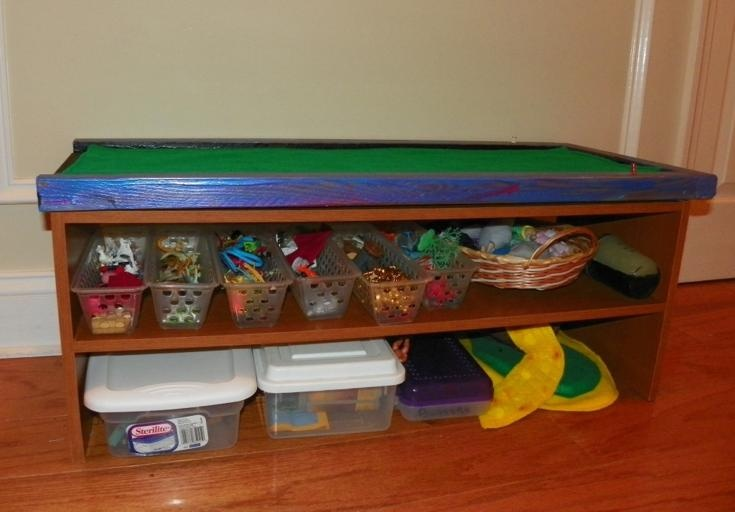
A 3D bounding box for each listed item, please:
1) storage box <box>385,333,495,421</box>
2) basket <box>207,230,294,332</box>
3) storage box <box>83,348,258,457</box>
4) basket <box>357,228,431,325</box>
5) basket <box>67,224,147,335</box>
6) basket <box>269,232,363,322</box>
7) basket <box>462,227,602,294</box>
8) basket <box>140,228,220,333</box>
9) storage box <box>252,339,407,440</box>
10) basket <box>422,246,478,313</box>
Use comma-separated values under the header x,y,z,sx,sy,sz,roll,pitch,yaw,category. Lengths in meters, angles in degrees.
x,y,z,sx,sy,sz,roll,pitch,yaw,category
0.213,0.348,1.602,0.235,0.078,0.241,-2,18,-7,storage box
-0.320,0.057,1.519,0.180,0.111,0.315,-5,28,-21,basket
-0.515,0.392,1.475,0.436,0.165,0.287,0,11,-18,storage box
0.055,0.059,1.525,0.166,0.092,0.290,-3,24,-16,basket
-0.669,0.056,1.462,0.185,0.119,0.334,1,22,-18,basket
-0.153,0.052,1.516,0.190,0.116,0.324,-6,22,-18,basket
0.507,0.030,1.639,0.385,0.129,0.350,3,-3,-10,basket
-0.497,0.042,1.487,0.196,0.126,0.340,0,30,-21,basket
-0.109,0.345,1.527,0.389,0.159,0.246,-2,12,-10,storage box
0.202,0.061,1.527,0.161,0.115,0.173,2,11,-4,basket
